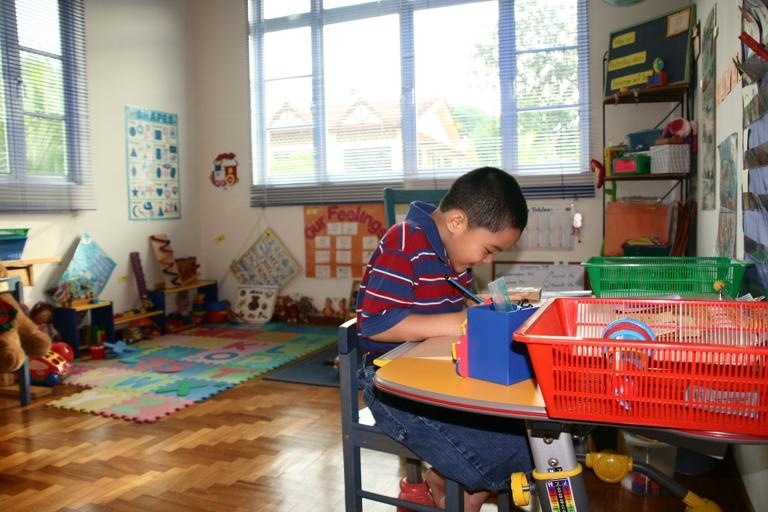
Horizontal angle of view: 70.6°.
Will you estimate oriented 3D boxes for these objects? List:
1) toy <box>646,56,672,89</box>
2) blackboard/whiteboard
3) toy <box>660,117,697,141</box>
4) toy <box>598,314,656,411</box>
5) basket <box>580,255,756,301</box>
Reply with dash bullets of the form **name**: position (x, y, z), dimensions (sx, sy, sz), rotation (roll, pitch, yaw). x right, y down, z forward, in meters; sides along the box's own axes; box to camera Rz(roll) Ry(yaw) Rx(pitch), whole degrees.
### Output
- **toy**: position (1.777, -1.198, 3.517), dimensions (0.119, 0.209, 0.172), rotation (4, 11, 27)
- **blackboard/whiteboard**: position (1.749, -1.350, 3.606), dimensions (0.203, 0.497, 0.598), rotation (-5, 11, -24)
- **toy**: position (1.815, -0.769, 3.352), dimensions (0.185, 0.079, 0.143), rotation (5, 51, 36)
- **toy**: position (0.557, 0.232, 1.248), dimensions (0.126, 0.212, 0.061), rotation (3, 1, 9)
- **basket**: position (1.072, 0.078, 2.108), dimensions (0.441, 0.102, 0.306), rotation (0, 4, 9)
